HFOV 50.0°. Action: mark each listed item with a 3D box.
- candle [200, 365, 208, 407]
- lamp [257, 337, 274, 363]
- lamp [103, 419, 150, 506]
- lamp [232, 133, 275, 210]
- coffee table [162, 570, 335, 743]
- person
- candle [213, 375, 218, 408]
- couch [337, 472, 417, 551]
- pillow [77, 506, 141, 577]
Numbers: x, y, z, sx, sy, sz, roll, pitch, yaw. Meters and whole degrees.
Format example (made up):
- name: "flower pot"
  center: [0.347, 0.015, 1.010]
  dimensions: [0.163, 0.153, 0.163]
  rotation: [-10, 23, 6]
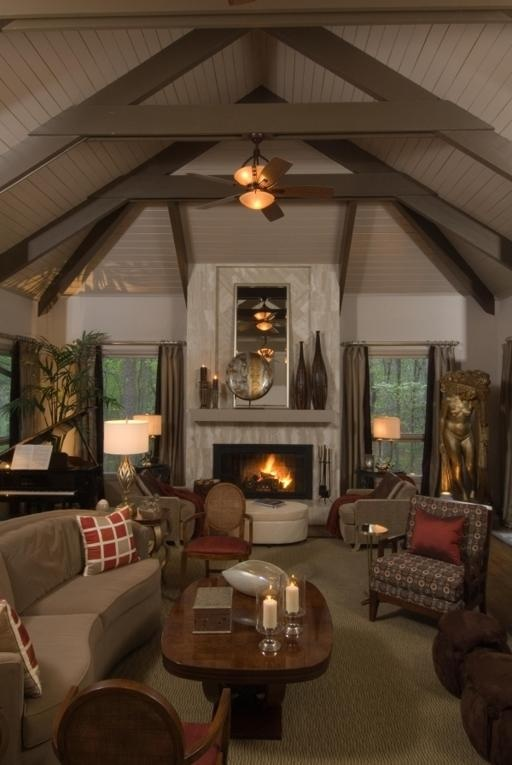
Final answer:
- name: "candle"
  center: [-0.634, 0.054, 6.618]
  dimensions: [0.116, 0.486, 0.126]
  rotation: [1, 0, 1]
- name: "lamp"
  center: [0.087, -0.395, 6.663]
  dimensions: [0.224, 0.253, 0.228]
  rotation: [1, -17, -5]
- name: "lamp"
  center: [-1.056, 0.645, 4.452]
  dimensions: [0.316, 0.742, 1.056]
  rotation: [0, 1, -13]
- name: "lamp"
  center: [-0.011, -1.495, 3.840]
  dimensions: [0.327, 0.420, 0.292]
  rotation: [0, 5, -43]
- name: "coffee table"
  center: [-0.050, 1.140, 2.282]
  dimensions: [0.578, 0.391, 0.789]
  rotation: [-1, 9, 1]
- name: "person"
  center: [2.506, 0.608, 6.425]
  dimensions: [0.559, 1.168, 0.759]
  rotation: [1, 1, 45]
- name: "candle"
  center: [-0.491, 0.099, 6.659]
  dimensions: [0.066, 0.396, 0.134]
  rotation: [1, 0, -5]
- name: "couch"
  center: [1.185, 1.188, 5.532]
  dimensions: [0.733, 0.827, 0.764]
  rotation: [0, -3, 4]
- name: "pillow"
  center: [-0.944, 1.031, 3.492]
  dimensions: [0.104, 0.269, 0.303]
  rotation: [-23, -11, 38]
